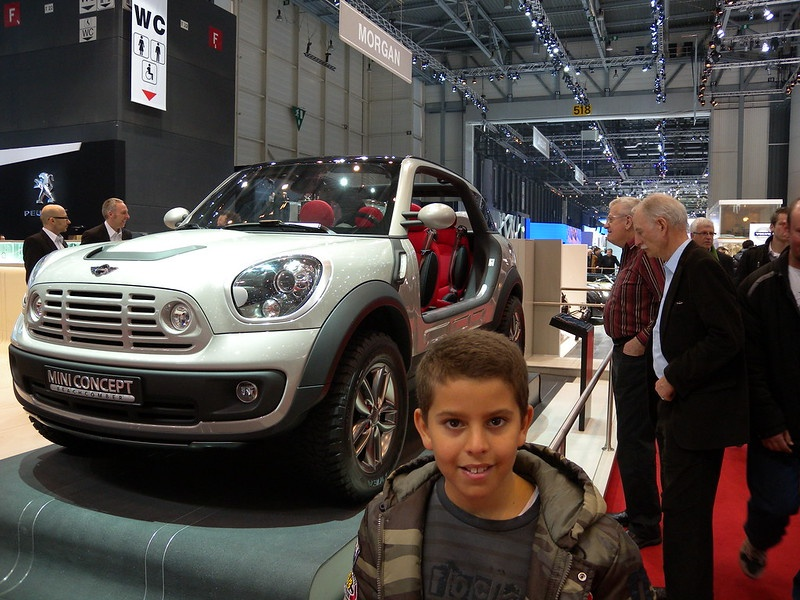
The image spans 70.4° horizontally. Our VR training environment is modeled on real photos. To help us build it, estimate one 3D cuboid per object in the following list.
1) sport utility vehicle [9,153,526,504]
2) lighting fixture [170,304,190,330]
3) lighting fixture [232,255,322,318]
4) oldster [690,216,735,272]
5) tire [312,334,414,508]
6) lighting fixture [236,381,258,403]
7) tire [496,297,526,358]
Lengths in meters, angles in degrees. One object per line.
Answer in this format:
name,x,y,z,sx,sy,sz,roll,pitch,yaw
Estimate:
sport utility vehicle,-0.431,0.057,4.012,1.869,1.777,3.404,-3,-4,27
lighting fixture,-0.982,0.074,2.533,0.110,0.122,0.024,4,3,24
lighting fixture,-0.570,-0.066,2.649,0.348,0.270,0.125,-17,-4,-37
oldster,3.330,-0.458,5.895,0.352,0.758,0.212,-15,6,45
tire,-0.197,0.576,2.705,0.200,0.686,0.649,3,22,20
lighting fixture,-0.681,0.408,2.509,0.079,0.092,0.014,-5,2,-4
tire,0.753,0.140,3.787,0.145,0.511,0.469,0,-7,27
